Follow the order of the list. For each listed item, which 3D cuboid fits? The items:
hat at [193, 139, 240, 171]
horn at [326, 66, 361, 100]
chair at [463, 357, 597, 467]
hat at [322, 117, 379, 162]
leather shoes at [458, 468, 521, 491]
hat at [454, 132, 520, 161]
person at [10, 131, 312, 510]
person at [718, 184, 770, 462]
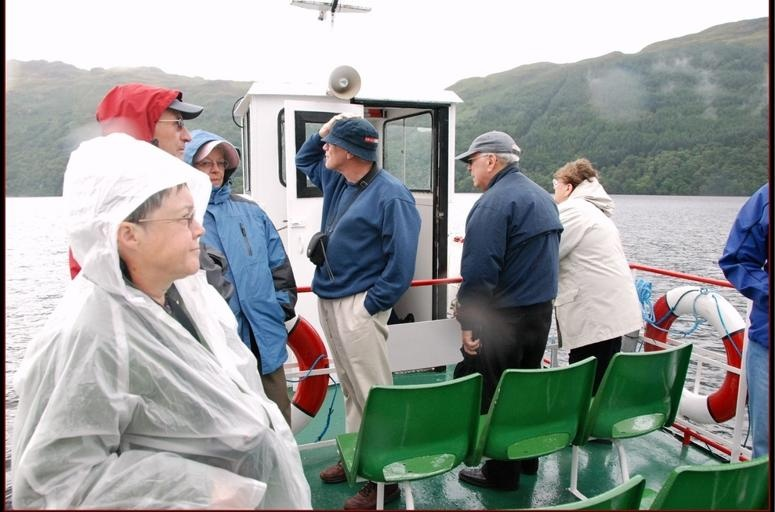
[{"bbox_3d":[-1.039,-0.642,3.670,0.165,0.202,0.113,7,12,-25],"label":"hat"},{"bbox_3d":[-0.387,-1.470,5.076,0.262,0.241,0.297,4,8,-17],"label":"horn"},{"bbox_3d":[0.812,0.896,3.656,0.743,0.562,0.625,-3,15,-9],"label":"chair"},{"bbox_3d":[-0.230,-0.800,3.976,0.348,0.171,0.274,22,18,-16],"label":"hat"},{"bbox_3d":[0.686,1.544,4.105,0.322,0.116,0.157,6,0,13],"label":"leather shoes"},{"bbox_3d":[0.687,-0.782,4.275,0.432,0.199,0.263,-3,-3,6],"label":"hat"},{"bbox_3d":[-0.937,0.314,2.292,1.042,1.542,0.631,-8,14,-25],"label":"person"},{"bbox_3d":[2.105,0.394,3.514,0.324,1.606,0.567,5,15,28],"label":"person"}]
